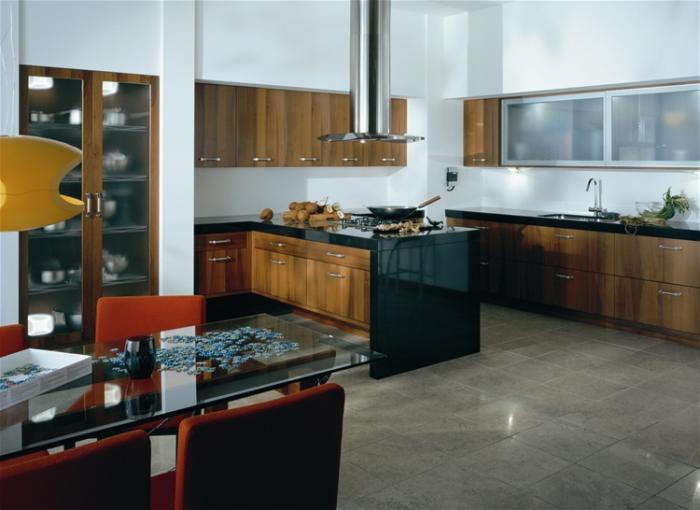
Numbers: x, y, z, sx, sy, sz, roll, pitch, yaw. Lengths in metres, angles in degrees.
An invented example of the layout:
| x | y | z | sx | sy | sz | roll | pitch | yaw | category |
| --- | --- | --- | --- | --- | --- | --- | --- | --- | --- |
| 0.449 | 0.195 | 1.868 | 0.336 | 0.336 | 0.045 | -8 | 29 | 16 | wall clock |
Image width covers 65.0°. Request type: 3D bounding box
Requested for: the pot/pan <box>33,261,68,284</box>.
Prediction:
| x | y | z | sx | sy | sz | roll | pitch | yaw | category |
| --- | --- | --- | --- | --- | --- | --- | --- | --- | --- |
| -2.433 | 0.149 | 4.453 | 0.192 | 0.111 | 0.180 | -2 | 4 | -16 | pot/pan |

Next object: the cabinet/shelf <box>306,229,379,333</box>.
| x | y | z | sx | sy | sz | roll | pitch | yaw | category |
| --- | --- | --- | --- | --- | --- | --- | --- | --- | --- |
| -0.011 | 0.196 | 4.678 | 0.904 | 0.674 | 0.497 | 9 | 15 | 33 | cabinet/shelf |

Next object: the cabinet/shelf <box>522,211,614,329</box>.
| x | y | z | sx | sy | sz | roll | pitch | yaw | category |
| --- | --- | --- | --- | --- | --- | --- | --- | --- | --- |
| 2.477 | 0.169 | 5.623 | 0.789 | 0.992 | 1.233 | -7 | 8 | -21 | cabinet/shelf |

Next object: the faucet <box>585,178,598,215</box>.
| x | y | z | sx | sy | sz | roll | pitch | yaw | category |
| --- | --- | --- | --- | --- | --- | --- | --- | --- | --- |
| 2.584 | -0.633 | 5.843 | 0.167 | 0.381 | 0.308 | 4 | 12 | 21 | faucet |

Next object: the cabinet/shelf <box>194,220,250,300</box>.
| x | y | z | sx | sy | sz | roll | pitch | yaw | category |
| --- | --- | --- | --- | --- | --- | --- | --- | --- | --- |
| -1.452 | 0.071 | 5.601 | 0.747 | 0.689 | 0.563 | -9 | 14 | -35 | cabinet/shelf |

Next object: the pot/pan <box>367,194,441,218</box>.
| x | y | z | sx | sy | sz | roll | pitch | yaw | category |
| --- | --- | --- | --- | --- | --- | --- | --- | --- | --- |
| 0.493 | -0.387 | 4.803 | 0.578 | 0.074 | 0.328 | -6 | 4 | -15 | pot/pan |

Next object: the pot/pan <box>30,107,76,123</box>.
| x | y | z | sx | sy | sz | roll | pitch | yaw | category |
| --- | --- | --- | --- | --- | --- | --- | --- | --- | --- |
| -2.382 | -1.111 | 4.395 | 0.294 | 0.089 | 0.111 | -1 | 2 | -40 | pot/pan |

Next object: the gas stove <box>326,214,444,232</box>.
| x | y | z | sx | sy | sz | roll | pitch | yaw | category |
| --- | --- | --- | --- | --- | --- | --- | --- | --- | --- |
| 0.239 | -0.271 | 4.776 | 0.653 | 0.078 | 1.118 | -8 | 13 | -38 | gas stove |

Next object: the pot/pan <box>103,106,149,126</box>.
| x | y | z | sx | sy | sz | roll | pitch | yaw | category |
| --- | --- | --- | --- | --- | --- | --- | --- | --- | --- |
| -1.934 | -1.173 | 4.678 | 0.247 | 0.080 | 0.161 | -1 | 1 | -41 | pot/pan |

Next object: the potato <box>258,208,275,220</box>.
| x | y | z | sx | sy | sz | roll | pitch | yaw | category |
| --- | --- | --- | --- | --- | --- | --- | --- | --- | --- |
| -0.859 | -0.412 | 5.585 | 0.128 | 0.112 | 0.156 | 1 | -9 | -24 | potato |

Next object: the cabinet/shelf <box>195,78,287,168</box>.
| x | y | z | sx | sy | sz | roll | pitch | yaw | category |
| --- | --- | --- | --- | --- | --- | --- | --- | --- | --- |
| -1.031 | -1.323 | 5.613 | 1.084 | 0.765 | 0.366 | 11 | 20 | 24 | cabinet/shelf |
